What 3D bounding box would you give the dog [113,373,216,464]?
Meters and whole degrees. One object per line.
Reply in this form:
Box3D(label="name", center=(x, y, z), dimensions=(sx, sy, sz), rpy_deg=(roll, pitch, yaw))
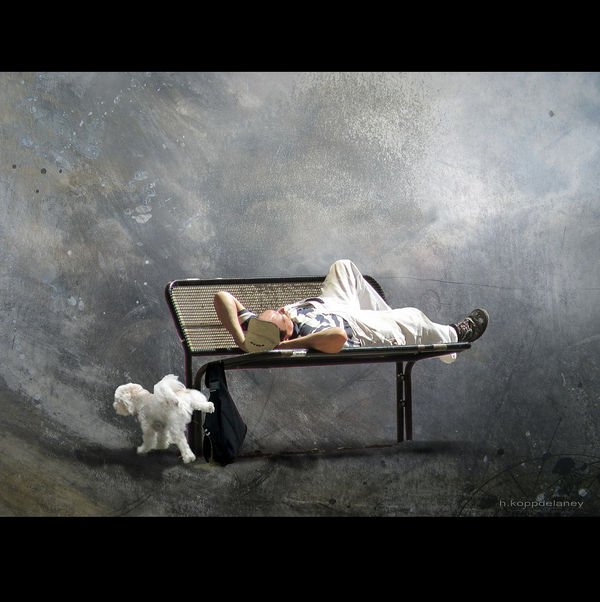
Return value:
Box3D(label="dog", center=(-0.709, 0.588, 4.006), dimensions=(0.563, 0.436, 0.208), rpy_deg=(-1, 11, 27))
